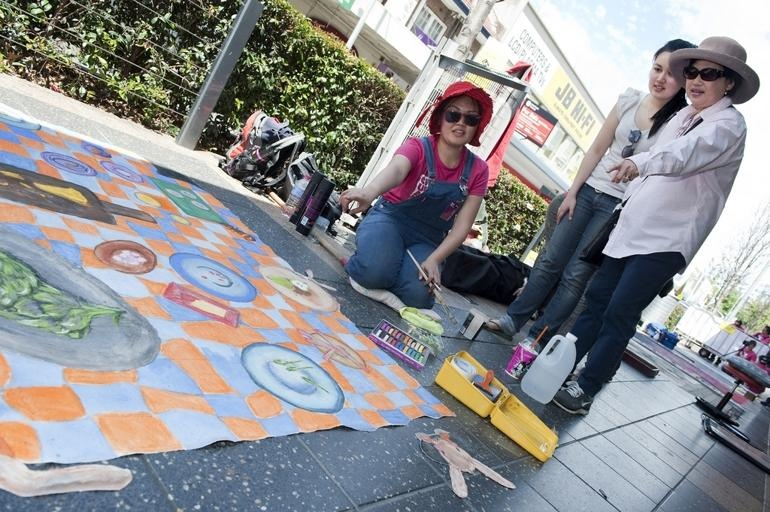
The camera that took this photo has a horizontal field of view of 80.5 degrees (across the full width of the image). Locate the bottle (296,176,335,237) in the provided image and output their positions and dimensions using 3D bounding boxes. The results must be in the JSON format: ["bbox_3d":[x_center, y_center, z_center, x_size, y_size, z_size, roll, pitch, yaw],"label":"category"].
[{"bbox_3d":[-0.601,-0.443,4.025,0.158,0.367,0.290,25,12,-11],"label":"bottle"}]

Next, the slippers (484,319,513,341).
[{"bbox_3d":[1.052,0.666,4.220,0.329,0.139,0.163,28,1,9],"label":"slippers"}]

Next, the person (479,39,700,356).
[{"bbox_3d":[1.738,-0.414,3.652,0.702,2.563,0.736,20,20,-9],"label":"person"}]

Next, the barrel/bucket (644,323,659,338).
[{"bbox_3d":[7.589,2.134,12.924,0.270,0.198,0.449,36,-10,23],"label":"barrel/bucket"}]

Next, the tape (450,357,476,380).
[{"bbox_3d":[0.468,0.654,2.635,0.140,0.060,0.114,43,21,30],"label":"tape"}]

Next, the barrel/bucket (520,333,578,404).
[{"bbox_3d":[1.073,0.738,3.120,0.399,0.515,0.325,0,-2,-1],"label":"barrel/bucket"}]

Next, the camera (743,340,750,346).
[{"bbox_3d":[9.253,2.258,11.644,0.130,0.118,0.088,0,-12,22],"label":"camera"}]

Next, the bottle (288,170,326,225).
[{"bbox_3d":[-0.679,-0.521,4.211,0.336,0.494,0.279,2,-7,7],"label":"bottle"}]

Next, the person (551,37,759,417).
[{"bbox_3d":[1.695,-0.196,2.953,0.690,2.413,0.811,20,1,-5],"label":"person"}]

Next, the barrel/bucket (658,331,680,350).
[{"bbox_3d":[7.491,2.200,12.019,0.510,0.244,0.698,1,2,20],"label":"barrel/bucket"}]
